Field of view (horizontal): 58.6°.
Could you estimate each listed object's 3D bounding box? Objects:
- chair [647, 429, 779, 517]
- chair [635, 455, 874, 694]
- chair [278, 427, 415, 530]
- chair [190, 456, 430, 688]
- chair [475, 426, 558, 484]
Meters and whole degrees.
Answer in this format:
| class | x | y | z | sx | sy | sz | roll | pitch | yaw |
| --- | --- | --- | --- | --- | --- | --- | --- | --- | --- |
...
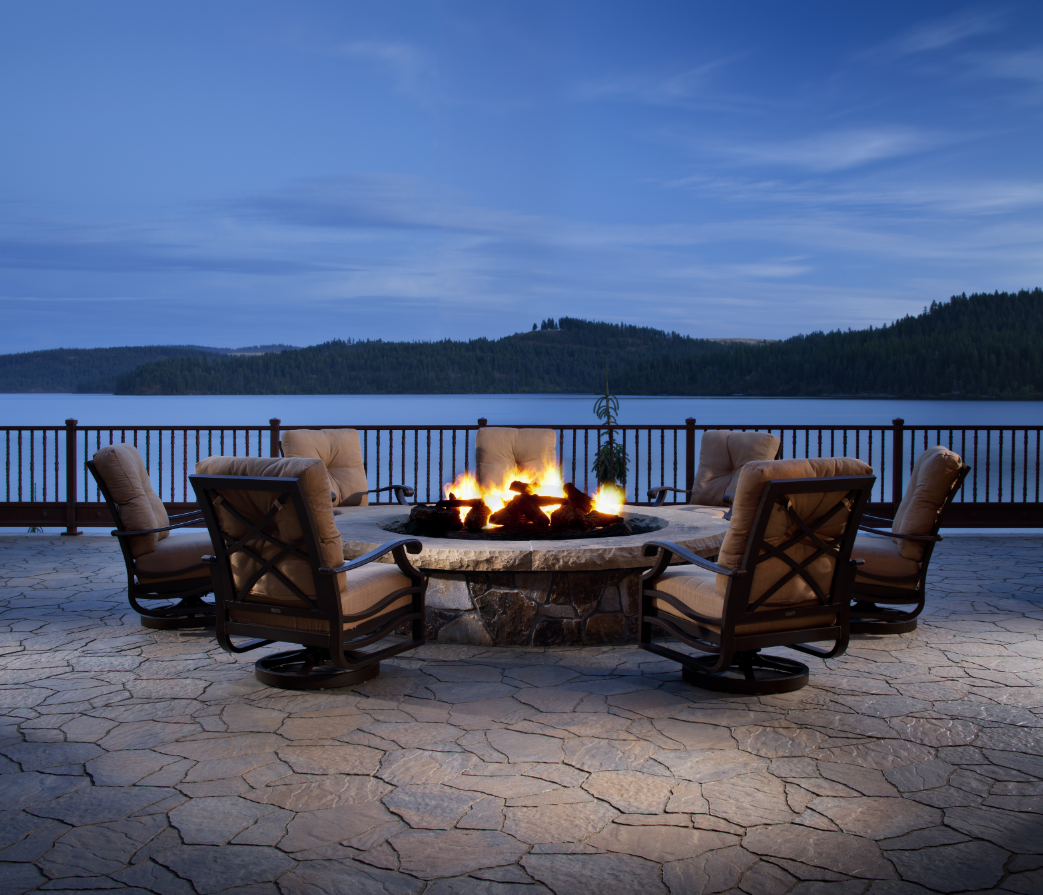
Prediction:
| class | x | y | z | sx | sy | sz | roll | pitch | yaw |
| --- | --- | --- | --- | --- | --- | --- | --- | --- | --- |
| chair | 1.500 | 0.240 | 7.448 | 0.795 | 0.685 | 0.899 | -6 | 6 | -32 |
| chair | 1.114 | 0.612 | 4.481 | 1.028 | 1.172 | 0.801 | 2 | 5 | 18 |
| chair | -1.380 | 0.197 | 7.371 | 1.130 | 0.545 | 1.093 | 12 | 2 | 28 |
| chair | -1.058 | 0.640 | 4.678 | 0.847 | 0.914 | 1.091 | -3 | -11 | 21 |
| chair | 0.044 | 0.071 | 8.026 | 0.783 | 0.486 | 0.747 | 0 | 0 | 29 |
